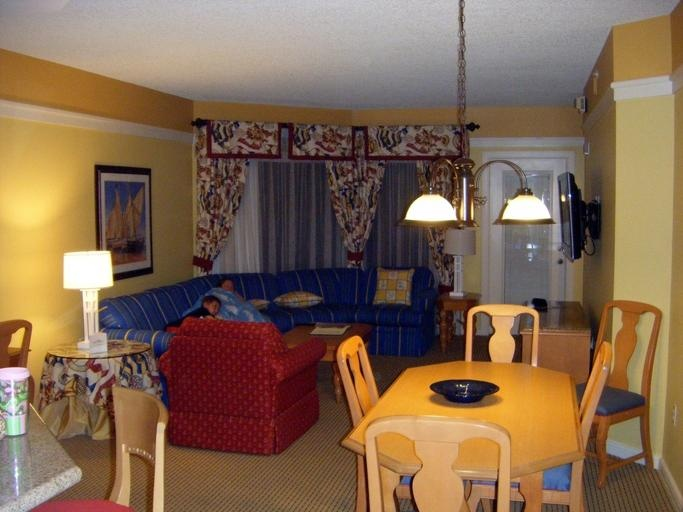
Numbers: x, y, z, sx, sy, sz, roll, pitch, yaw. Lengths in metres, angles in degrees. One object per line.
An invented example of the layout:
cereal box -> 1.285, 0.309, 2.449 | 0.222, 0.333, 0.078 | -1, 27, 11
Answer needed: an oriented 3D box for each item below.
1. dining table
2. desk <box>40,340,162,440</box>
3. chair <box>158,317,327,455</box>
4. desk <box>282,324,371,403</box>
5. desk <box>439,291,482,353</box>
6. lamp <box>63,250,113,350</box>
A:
dining table -> 0.775, 0.828, 2.907 | 0.802, 0.323, 1.382 | 2, 4, 16
desk -> -2.035, 1.049, 4.669 | 1.072, 0.718, 0.915 | 8, -1, -36
chair -> -0.768, 0.902, 4.597 | 1.117, 1.047, 1.070 | 1, 4, 20
desk -> -0.143, 1.238, 5.647 | 0.734, 0.491, 0.997 | 0, 1, 14
desk -> 1.559, 1.057, 7.265 | 0.606, 0.828, 1.087 | 0, 3, 10
lamp -> -2.155, 0.370, 4.652 | 0.367, 0.798, 0.650 | -3, 8, -16
